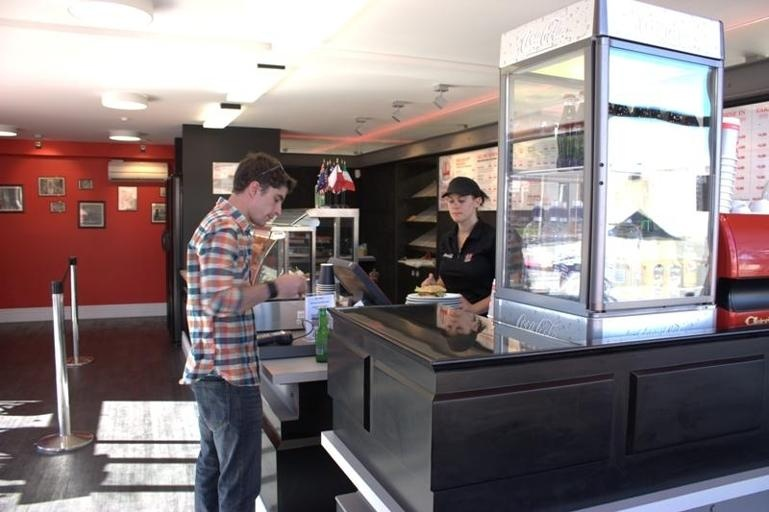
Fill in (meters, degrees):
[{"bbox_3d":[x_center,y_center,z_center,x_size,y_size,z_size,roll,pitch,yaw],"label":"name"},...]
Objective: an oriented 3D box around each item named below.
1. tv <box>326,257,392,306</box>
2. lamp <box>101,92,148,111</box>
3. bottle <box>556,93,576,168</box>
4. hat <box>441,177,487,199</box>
[{"bbox_3d":[-0.141,0.132,2.899,0.229,0.254,0.398,-8,0,-20],"label":"tv"},{"bbox_3d":[-2.608,-1.538,5.545,0.416,0.126,0.290,-1,5,-23],"label":"lamp"},{"bbox_3d":[0.647,-0.437,1.967,0.017,0.253,0.096,0,5,-21],"label":"bottle"},{"bbox_3d":[0.548,-0.439,3.697,0.220,0.106,0.156,16,-8,-36],"label":"hat"}]
